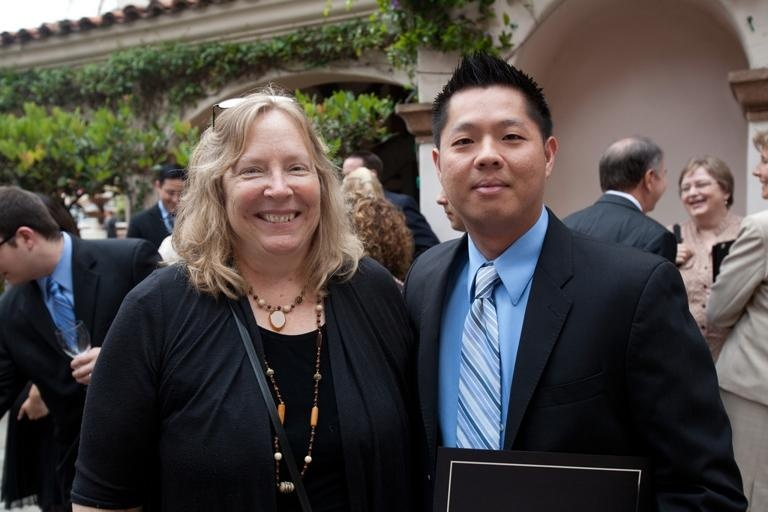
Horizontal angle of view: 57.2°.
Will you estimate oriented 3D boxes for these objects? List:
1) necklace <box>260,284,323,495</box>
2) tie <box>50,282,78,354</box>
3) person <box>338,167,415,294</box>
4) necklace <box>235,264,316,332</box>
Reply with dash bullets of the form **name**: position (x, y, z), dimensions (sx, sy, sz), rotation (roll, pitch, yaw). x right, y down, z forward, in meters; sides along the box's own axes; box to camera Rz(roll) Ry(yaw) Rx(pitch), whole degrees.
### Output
- **necklace**: position (-0.364, 0.624, 3.225), dimensions (0.250, 0.826, 0.090), rotation (4, -17, -17)
- **tie**: position (-1.949, 0.395, 4.287), dimensions (0.064, 0.461, 0.054), rotation (-20, -22, -7)
- **person**: position (-0.085, -0.216, 5.167), dimensions (0.356, 0.790, 0.546), rotation (-29, 1, -15)
- **necklace**: position (-0.536, 0.213, 3.376), dimensions (0.346, 0.310, 0.051), rotation (4, -39, -14)
